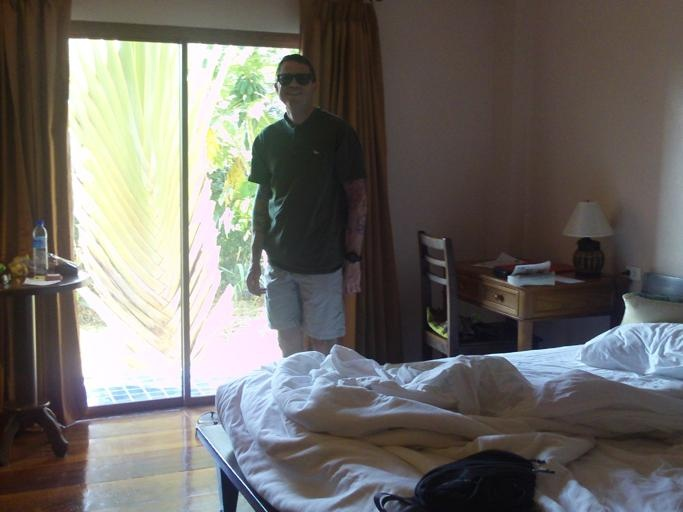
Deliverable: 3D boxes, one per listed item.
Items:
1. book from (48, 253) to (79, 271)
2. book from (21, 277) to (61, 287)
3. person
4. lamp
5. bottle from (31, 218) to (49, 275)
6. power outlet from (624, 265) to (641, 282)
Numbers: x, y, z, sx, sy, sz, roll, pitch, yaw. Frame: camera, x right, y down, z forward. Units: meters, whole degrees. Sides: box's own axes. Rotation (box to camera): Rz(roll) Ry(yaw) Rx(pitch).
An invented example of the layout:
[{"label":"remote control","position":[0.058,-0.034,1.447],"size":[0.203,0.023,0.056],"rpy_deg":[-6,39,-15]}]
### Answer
[{"label":"book","position":[-1.488,0.027,3.123],"size":[0.158,0.066,0.095],"rpy_deg":[21,12,-7]},{"label":"book","position":[-1.488,0.128,2.874],"size":[0.182,0.010,0.143],"rpy_deg":[0,13,0]},{"label":"person","position":[-0.206,0.001,3.084],"size":[0.637,2.008,0.426],"rpy_deg":[3,8,7]},{"label":"lamp","position":[1.440,-0.102,3.333],"size":[0.291,0.422,0.204],"rpy_deg":[-6,13,-26]},{"label":"bottle","position":[-1.597,-0.059,3.077],"size":[0.082,0.263,0.346],"rpy_deg":[-6,14,-26]},{"label":"power outlet","position":[1.628,0.092,3.251],"size":[0.055,0.069,0.092],"rpy_deg":[-3,6,-6]}]
